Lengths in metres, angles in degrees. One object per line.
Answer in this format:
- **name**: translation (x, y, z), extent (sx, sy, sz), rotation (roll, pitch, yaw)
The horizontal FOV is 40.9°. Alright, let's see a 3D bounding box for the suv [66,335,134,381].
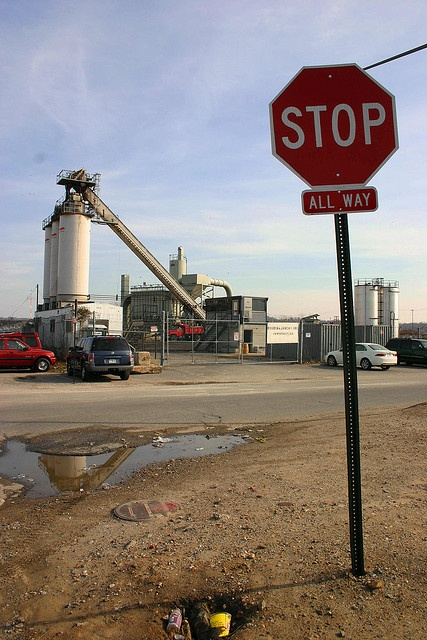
- **suv**: translation (-3.928, 1.190, 19.382), extent (1.255, 1.070, 2.438), rotation (2, 1, -25)

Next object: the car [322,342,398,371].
- **car**: translation (7.716, 1.755, 28.243), extent (3.135, 1.222, 4.767), rotation (0, -2, -14)

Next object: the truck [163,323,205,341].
- **truck**: translation (-2.484, 1.061, 52.409), extent (2.539, 1.343, 1.767), rotation (1, -2, 10)
